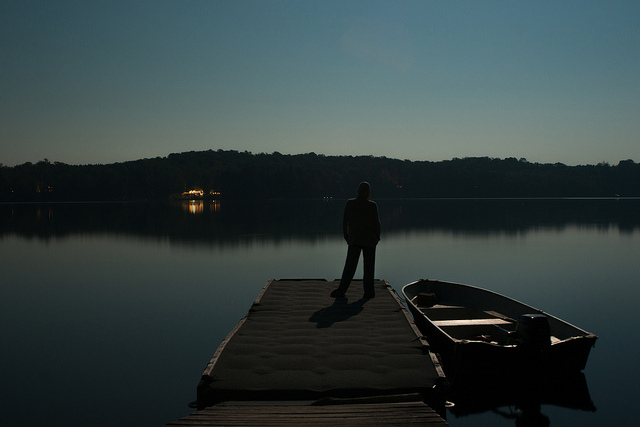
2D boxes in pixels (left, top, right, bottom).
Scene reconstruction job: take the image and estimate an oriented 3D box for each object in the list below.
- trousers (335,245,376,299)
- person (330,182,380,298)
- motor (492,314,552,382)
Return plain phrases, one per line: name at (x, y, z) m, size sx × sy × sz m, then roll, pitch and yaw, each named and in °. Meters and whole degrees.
trousers at (1.322, 2.120, 22.465) m, size 1.240 × 1.984 × 0.431 m, roll -1°, pitch 6°, yaw 2°
person at (1.425, 0.998, 22.401) m, size 1.406 × 4.172 × 0.564 m, roll -1°, pitch 6°, yaw 3°
motor at (6.720, 4.323, 19.812) m, size 1.088 × 2.113 × 0.421 m, roll -2°, pitch 6°, yaw -3°
